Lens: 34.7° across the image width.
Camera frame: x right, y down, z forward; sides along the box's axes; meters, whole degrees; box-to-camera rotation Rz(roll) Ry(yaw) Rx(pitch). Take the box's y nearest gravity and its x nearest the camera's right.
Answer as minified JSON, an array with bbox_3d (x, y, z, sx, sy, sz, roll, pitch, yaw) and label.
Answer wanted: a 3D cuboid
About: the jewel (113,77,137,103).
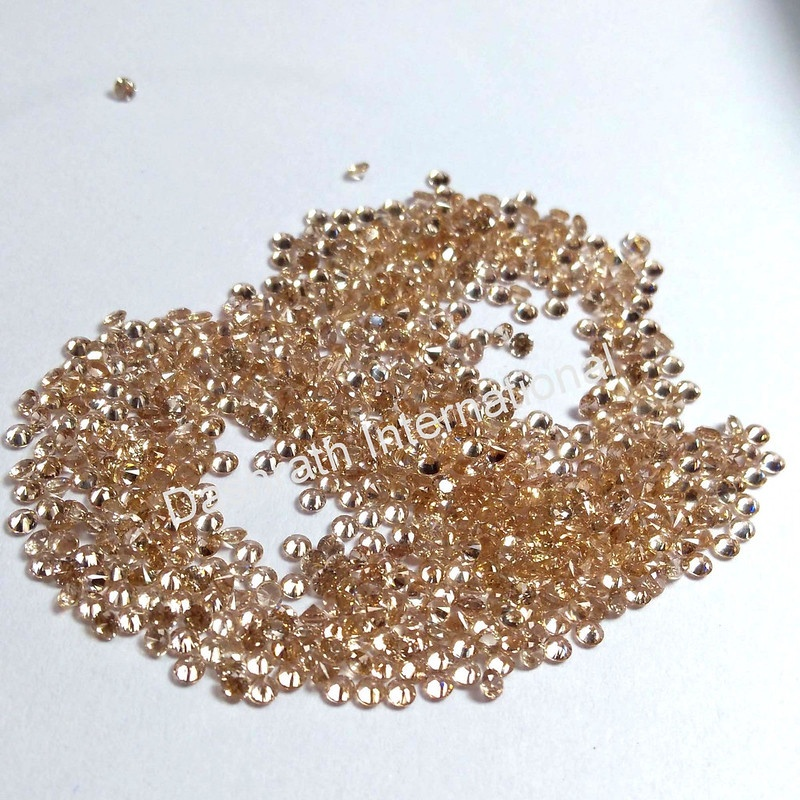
[{"bbox_3d":[-0.520,-0.585,2.413,0.043,0.025,0.051,0,87,-20],"label":"jewel"}]

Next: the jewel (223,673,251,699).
[{"bbox_3d":[-0.244,0.429,1.895,0.043,0.047,0.039,0,74,-3],"label":"jewel"}]

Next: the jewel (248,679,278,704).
[{"bbox_3d":[-0.205,0.436,1.898,0.042,0.039,0.034,-12,75,-6],"label":"jewel"}]

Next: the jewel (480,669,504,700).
[{"bbox_3d":[0.137,0.428,1.904,0.036,0.022,0.044,-8,66,-6],"label":"jewel"}]

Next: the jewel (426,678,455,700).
[{"bbox_3d":[0.054,0.431,1.894,0.030,0.016,0.036,5,85,-12],"label":"jewel"}]

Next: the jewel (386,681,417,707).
[{"bbox_3d":[0.007,0.441,1.883,0.034,0.020,0.041,4,69,-6],"label":"jewel"}]

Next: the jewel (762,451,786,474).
[{"bbox_3d":[0.604,0.105,2.088,0.029,0.020,0.035,7,79,3],"label":"jewel"}]

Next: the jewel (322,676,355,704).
[{"bbox_3d":[-0.093,0.434,1.901,0.046,0.041,0.041,-8,75,-5],"label":"jewel"}]

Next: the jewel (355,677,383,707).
[{"bbox_3d":[-0.047,0.434,1.885,0.035,0.025,0.043,0,81,-1],"label":"jewel"}]
